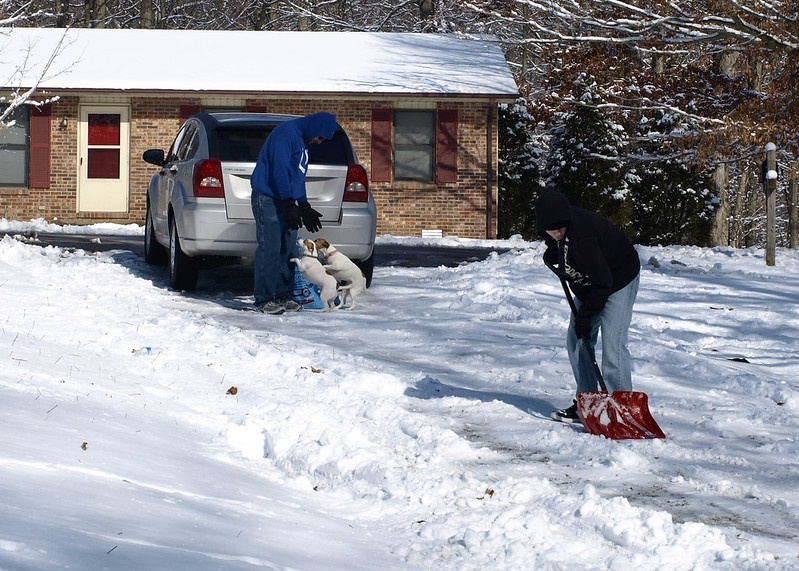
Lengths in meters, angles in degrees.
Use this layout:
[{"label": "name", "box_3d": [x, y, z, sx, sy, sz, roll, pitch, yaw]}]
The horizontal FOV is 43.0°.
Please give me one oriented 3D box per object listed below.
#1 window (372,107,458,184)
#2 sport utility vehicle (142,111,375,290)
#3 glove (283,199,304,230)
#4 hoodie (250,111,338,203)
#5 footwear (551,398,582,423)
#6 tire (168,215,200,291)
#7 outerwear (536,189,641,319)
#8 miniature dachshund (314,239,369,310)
[{"label": "window", "box_3d": [0.331, -3.387, 24.115, 1.797, 1.461, 0.215, 1, 0, -2]}, {"label": "sport utility vehicle", "box_3d": [-1.945, -1.130, 12.634, 1.831, 1.366, 3.186, 2, 11, -17]}, {"label": "glove", "box_3d": [-1.193, -0.781, 11.297, 0.115, 0.304, 0.232, -34, 18, -29]}, {"label": "hoodie", "box_3d": [-1.242, -1.472, 11.576, 0.867, 1.091, 0.774, 11, 0, 2]}, {"label": "footwear", "box_3d": [1.517, 1.148, 8.924, 0.351, 0.152, 0.119, 3, -3, -4]}, {"label": "tire", "box_3d": [-2.564, -0.384, 12.050, 0.273, 0.920, 0.911, 4, -2, -20]}, {"label": "outerwear", "box_3d": [1.587, -0.256, 8.614, 0.901, 1.113, 0.483, 2, 8, 7]}, {"label": "miniature dachshund", "box_3d": [-0.763, -0.109, 11.876, 0.825, 0.685, 0.374, 19, -6, -18]}]
